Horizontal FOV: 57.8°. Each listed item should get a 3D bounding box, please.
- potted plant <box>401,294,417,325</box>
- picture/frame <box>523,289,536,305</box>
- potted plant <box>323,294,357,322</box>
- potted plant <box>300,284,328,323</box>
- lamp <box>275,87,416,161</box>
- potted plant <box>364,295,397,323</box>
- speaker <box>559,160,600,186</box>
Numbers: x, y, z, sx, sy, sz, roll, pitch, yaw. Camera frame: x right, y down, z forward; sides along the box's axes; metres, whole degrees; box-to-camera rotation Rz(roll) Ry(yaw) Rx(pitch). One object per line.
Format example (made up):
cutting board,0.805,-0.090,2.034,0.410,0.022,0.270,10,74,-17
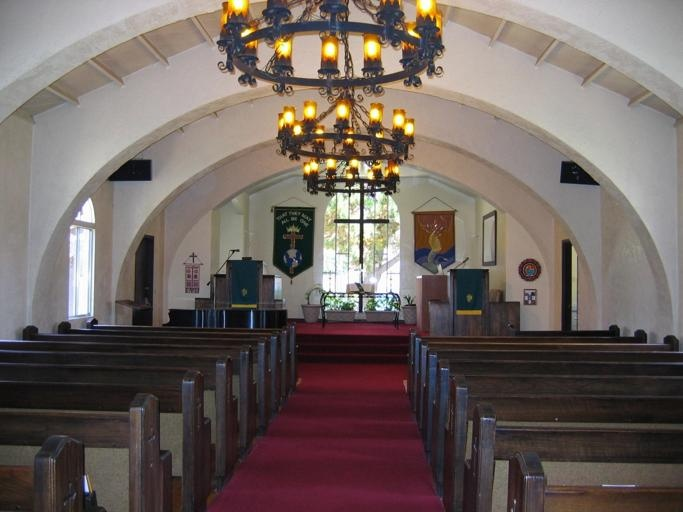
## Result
potted plant,1.704,1.379,15.752,0.505,0.834,0.520,2,-3,2
picture/frame,3.757,0.821,12.364,0.255,0.352,0.023,2,-8,10
potted plant,-0.066,1.303,15.521,0.858,0.691,0.692,2,4,10
potted plant,-0.743,1.207,15.875,0.714,1.257,0.843,4,-7,-20
lamp,-0.122,-1.432,7.202,1.398,0.707,1.431,-2,8,-29
potted plant,0.987,1.312,15.751,0.820,0.610,1.043,2,1,1
speaker,3.694,-1.321,9.693,0.507,0.363,0.298,2,1,21
